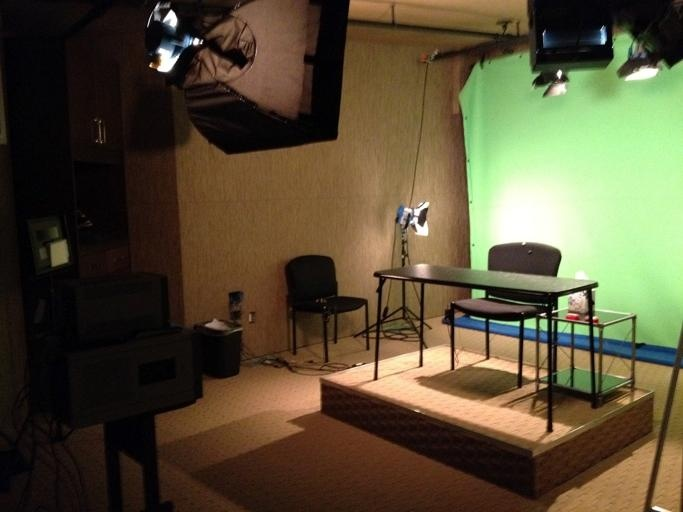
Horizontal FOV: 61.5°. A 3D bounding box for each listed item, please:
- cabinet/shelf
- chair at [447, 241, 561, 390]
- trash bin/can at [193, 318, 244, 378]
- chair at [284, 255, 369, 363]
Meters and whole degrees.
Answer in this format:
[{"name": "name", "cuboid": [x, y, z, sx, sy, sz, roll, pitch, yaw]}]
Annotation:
[{"name": "cabinet/shelf", "cuboid": [1.794, 0.721, 4.224, 0.624, 0.529, 0.637, 1, 2, 37]}, {"name": "chair", "cuboid": [1.424, 0.457, 4.982, 0.697, 1.100, 0.757, 7, 7, 40]}, {"name": "trash bin/can", "cuboid": [-1.078, 0.820, 5.072, 0.355, 0.501, 0.302, -8, 16, -25]}, {"name": "chair", "cuboid": [-0.127, 0.478, 5.602, 0.743, 0.931, 0.702, -2, 5, -15]}]
